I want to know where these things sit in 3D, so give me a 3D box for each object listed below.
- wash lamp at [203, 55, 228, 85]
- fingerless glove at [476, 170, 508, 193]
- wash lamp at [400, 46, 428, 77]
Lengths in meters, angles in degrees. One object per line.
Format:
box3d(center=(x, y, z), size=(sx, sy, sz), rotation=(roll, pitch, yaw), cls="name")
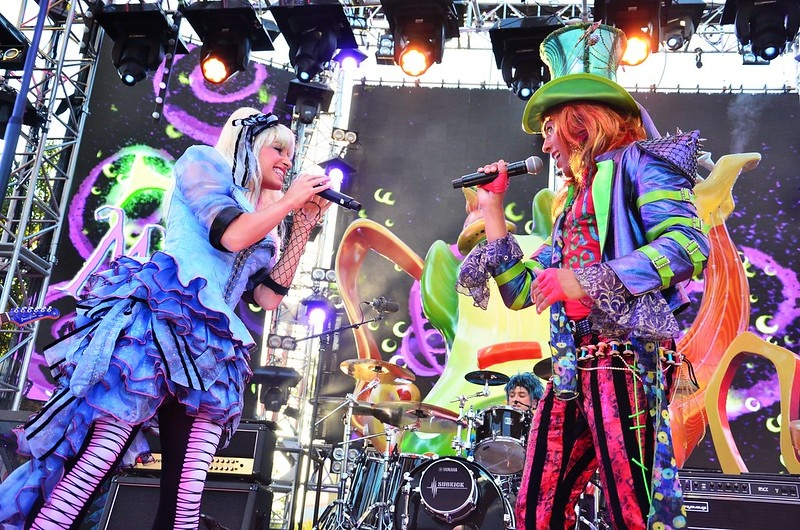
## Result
box3d(center=(-2.077, -2.201, 8.474), size=(0.262, 0.282, 0.103), rotation=(-12, 21, 11), cls="wash lamp")
box3d(center=(0.534, -0.503, 4.460), size=(0.153, 0.055, 0.118), rotation=(-20, 23, 4), cls="fingerless glove")
box3d(center=(0.146, -2.192, 8.171), size=(0.287, 0.271, 0.278), rotation=(6, 33, 7), cls="wash lamp")
